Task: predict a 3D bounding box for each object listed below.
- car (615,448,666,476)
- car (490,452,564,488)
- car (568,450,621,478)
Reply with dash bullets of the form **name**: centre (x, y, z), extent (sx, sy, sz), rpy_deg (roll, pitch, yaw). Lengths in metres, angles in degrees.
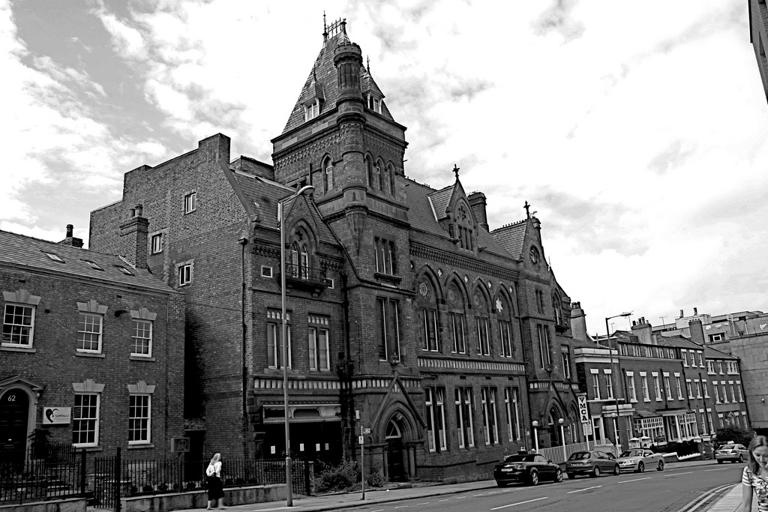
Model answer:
- **car**: centre (19.856, 15.911, 48.658), extent (4.694, 1.782, 2.061), rpy_deg (15, -30, -41)
- **car**: centre (9.102, 13.604, 39.852), extent (4.615, 2.053, 1.755), rpy_deg (14, -31, -40)
- **car**: centre (15.237, 15.418, 46.268), extent (4.234, 1.867, 2.050), rpy_deg (7, -26, -28)
